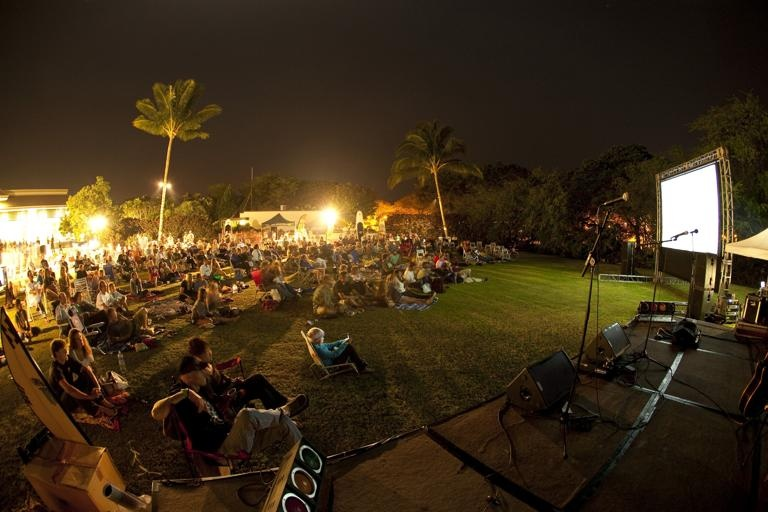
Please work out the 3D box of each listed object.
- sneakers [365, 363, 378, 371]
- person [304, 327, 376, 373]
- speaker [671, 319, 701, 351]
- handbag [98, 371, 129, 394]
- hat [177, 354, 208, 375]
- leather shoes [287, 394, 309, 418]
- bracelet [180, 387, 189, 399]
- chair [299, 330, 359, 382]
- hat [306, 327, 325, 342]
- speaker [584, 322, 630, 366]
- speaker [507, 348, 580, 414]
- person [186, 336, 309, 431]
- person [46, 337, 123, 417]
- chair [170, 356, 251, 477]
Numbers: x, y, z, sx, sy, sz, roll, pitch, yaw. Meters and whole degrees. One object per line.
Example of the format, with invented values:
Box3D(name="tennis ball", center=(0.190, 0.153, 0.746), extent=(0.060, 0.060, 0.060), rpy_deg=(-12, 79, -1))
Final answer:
Box3D(name="sneakers", center=(-0.289, 2.565, 8.677), extent=(0.274, 0.183, 0.095), rpy_deg=(-6, 14, -17))
Box3D(name="person", center=(-1.088, 2.197, 8.715), extent=(1.066, 1.424, 0.598), rpy_deg=(-22, 18, -20))
Box3D(name="speaker", center=(7.295, 1.895, 9.051), extent=(0.575, 0.523, 0.804), rpy_deg=(8, 12, 42))
Box3D(name="handbag", center=(-5.609, 2.621, 7.804), extent=(0.384, 0.345, 0.290), rpy_deg=(-20, 21, 6))
Box3D(name="hat", center=(-3.122, 1.752, 6.148), extent=(0.367, 0.320, 0.281), rpy_deg=(-16, -2, -31))
Box3D(name="leather shoes", center=(-1.590, 2.754, 6.964), extent=(0.228, 0.194, 0.538), rpy_deg=(22, 33, 27))
Box3D(name="bracelet", center=(-3.057, 2.098, 5.815), extent=(0.129, 0.135, 0.165), rpy_deg=(-5, 9, -23))
Box3D(name="chair", center=(-1.250, 2.269, 8.722), extent=(1.314, 0.939, 0.847), rpy_deg=(-1, 3, -19))
Box3D(name="hat", center=(-1.570, 1.791, 8.731), extent=(0.372, 0.376, 0.461), rpy_deg=(-9, 0, -8))
Box3D(name="speaker", center=(4.953, 1.937, 8.421), extent=(1.006, 0.660, 0.775), rpy_deg=(-7, -8, -43))
Box3D(name="speaker", center=(3.104, 2.333, 7.285), extent=(1.304, 0.931, 0.938), rpy_deg=(-14, 10, -34))
Box3D(name="person", center=(-2.464, 2.361, 6.644), extent=(2.026, 1.230, 0.782), rpy_deg=(-1, 31, -4))
Box3D(name="person", center=(-5.733, 2.261, 7.082), extent=(1.281, 1.475, 0.427), rpy_deg=(2, 10, 17))
Box3D(name="chair", center=(-2.772, 2.544, 6.046), extent=(1.400, 1.862, 0.731), rpy_deg=(-2, 9, -8))
